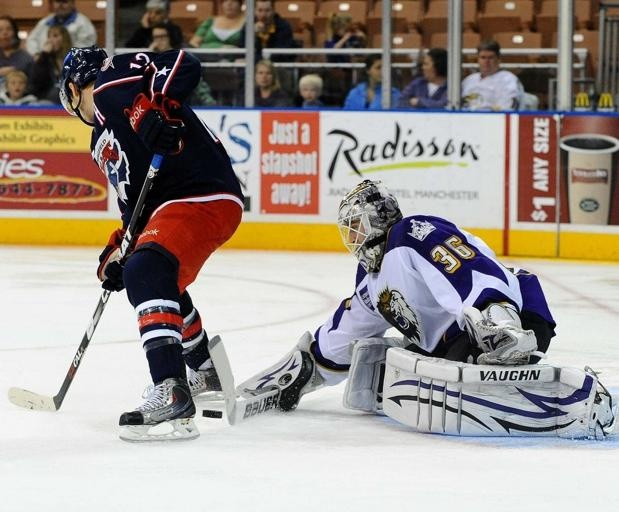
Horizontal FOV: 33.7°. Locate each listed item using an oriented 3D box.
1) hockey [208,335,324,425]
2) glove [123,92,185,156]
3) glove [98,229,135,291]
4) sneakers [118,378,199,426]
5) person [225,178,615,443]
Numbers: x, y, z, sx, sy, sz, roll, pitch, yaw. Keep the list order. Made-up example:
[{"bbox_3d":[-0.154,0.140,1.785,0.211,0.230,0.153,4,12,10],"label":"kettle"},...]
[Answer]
[{"bbox_3d":[-0.195,0.454,3.911,0.498,0.267,0.144,-8,17,-24],"label":"hockey"},{"bbox_3d":[-0.530,-0.466,3.566,0.177,0.227,0.098,-35,-6,-11],"label":"glove"},{"bbox_3d":[-0.760,0.023,4.045,0.135,0.129,0.433,-3,-24,-15],"label":"glove"},{"bbox_3d":[-0.521,0.504,3.517,0.315,0.141,0.098,-1,-7,-41],"label":"sneakers"},{"bbox_3d":[0.431,0.289,3.726,1.102,0.659,1.076,0,-5,-9],"label":"person"}]
